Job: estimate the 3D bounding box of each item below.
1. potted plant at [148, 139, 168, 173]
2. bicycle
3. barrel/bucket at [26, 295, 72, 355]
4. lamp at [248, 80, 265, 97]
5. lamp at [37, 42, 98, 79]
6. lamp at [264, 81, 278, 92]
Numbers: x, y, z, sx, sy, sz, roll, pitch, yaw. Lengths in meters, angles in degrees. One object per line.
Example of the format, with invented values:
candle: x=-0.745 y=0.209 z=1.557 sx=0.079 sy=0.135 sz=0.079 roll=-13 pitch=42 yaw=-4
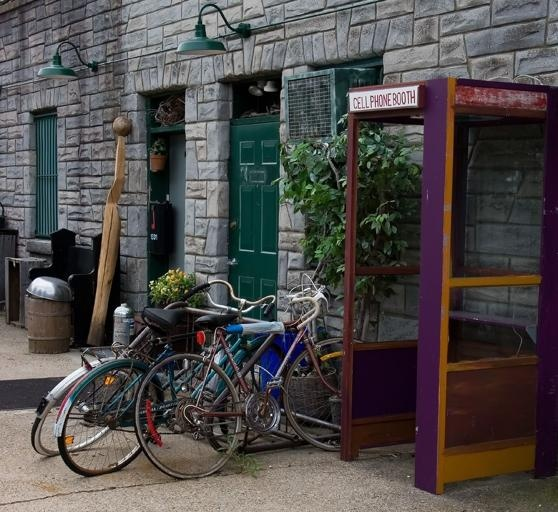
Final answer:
potted plant: x=-1.481 y=-1.227 z=8.325 sx=0.218 sy=0.425 sz=0.160 roll=-1 pitch=4 yaw=-22
bicycle: x=-0.374 y=0.745 z=4.645 sx=2.382 sy=1.266 sz=0.901 roll=-4 pitch=7 yaw=-32
barrel/bucket: x=-2.628 y=0.761 z=7.741 sx=0.457 sy=0.662 sz=0.419 roll=2 pitch=3 yaw=0
lamp: x=-0.235 y=-1.698 z=6.932 sx=0.158 sy=0.144 sz=0.472 roll=1 pitch=3 yaw=-4
lamp: x=-2.671 y=-2.486 z=8.638 sx=0.632 sy=0.423 sz=0.362 roll=-9 pitch=12 yaw=-28
lamp: x=-0.081 y=-1.645 z=6.681 sx=0.108 sy=0.080 sz=0.114 roll=1 pitch=-3 yaw=3
